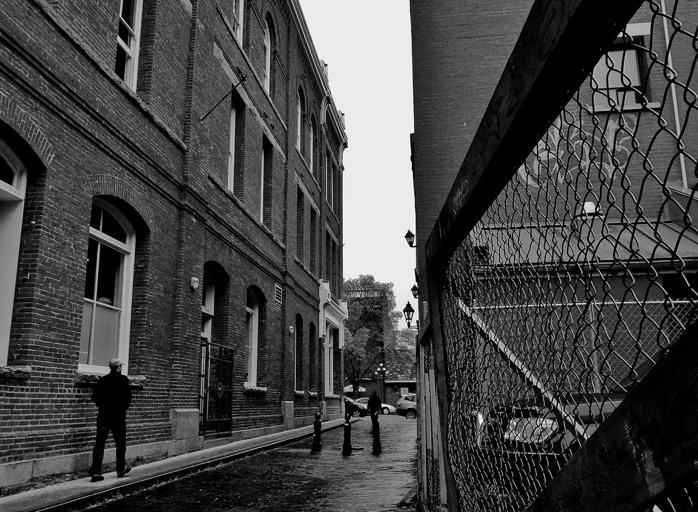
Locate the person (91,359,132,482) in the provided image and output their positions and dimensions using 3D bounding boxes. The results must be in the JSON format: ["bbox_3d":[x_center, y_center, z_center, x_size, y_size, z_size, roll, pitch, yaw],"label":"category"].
[{"bbox_3d":[-3.473,2.393,9.110,0.356,1.733,0.662,-6,-18,17],"label":"person"}]

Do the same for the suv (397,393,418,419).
[{"bbox_3d":[4.173,11.023,45.691,1.263,2.089,4.267,-1,-20,2],"label":"suv"}]

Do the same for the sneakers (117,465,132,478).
[{"bbox_3d":[-3.361,3.233,9.274,0.076,0.114,0.244,1,-3,9],"label":"sneakers"}]

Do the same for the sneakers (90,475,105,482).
[{"bbox_3d":[-3.520,3.093,8.676,0.069,0.093,0.205,0,-6,4],"label":"sneakers"}]
